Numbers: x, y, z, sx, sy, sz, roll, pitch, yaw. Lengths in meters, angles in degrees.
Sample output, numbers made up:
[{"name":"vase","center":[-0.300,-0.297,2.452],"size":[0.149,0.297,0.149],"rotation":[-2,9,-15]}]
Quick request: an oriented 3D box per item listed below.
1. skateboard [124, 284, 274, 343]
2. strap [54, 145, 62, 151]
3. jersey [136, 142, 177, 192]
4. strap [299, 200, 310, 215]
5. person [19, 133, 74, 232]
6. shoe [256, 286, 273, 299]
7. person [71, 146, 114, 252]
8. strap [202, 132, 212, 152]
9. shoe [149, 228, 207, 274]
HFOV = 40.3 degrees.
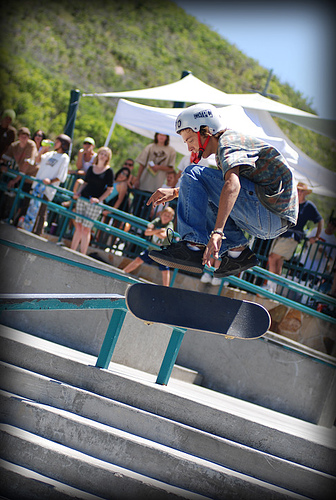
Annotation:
[{"name":"skateboard","center":[0.186,0.475,3.138],"size":[1.203,0.356,0.169],"rotation":[8,-30,4]},{"name":"strap","center":[-1.651,-1.535,6.867],"size":[0.045,0.099,0.248],"rotation":[11,7,-28]},{"name":"jersey","center":[-0.226,-1.458,8.113],"size":[0.761,0.988,0.291],"rotation":[13,31,-8]},{"name":"strap","center":[2.119,-0.664,7.152],"size":[0.068,0.182,0.134],"rotation":[34,-23,-5]},{"name":"person","center":[-1.836,-1.002,6.902],"size":[0.512,1.521,0.425],"rotation":[14,6,-7]},{"name":"shoe","center":[1.452,0.640,6.865],"size":[0.184,0.164,0.487],"rotation":[15,7,13]},{"name":"person","center":[-1.113,-0.759,6.790],"size":[0.471,1.055,0.544],"rotation":[14,6,-3]},{"name":"strap","center":[0.257,-0.705,2.998],"size":[0.018,0.124,0.018],"rotation":[24,-12,15]},{"name":"shoe","center":[0.064,-0.007,3.117],"size":[0.403,0.259,0.147],"rotation":[12,-19,-9]}]
